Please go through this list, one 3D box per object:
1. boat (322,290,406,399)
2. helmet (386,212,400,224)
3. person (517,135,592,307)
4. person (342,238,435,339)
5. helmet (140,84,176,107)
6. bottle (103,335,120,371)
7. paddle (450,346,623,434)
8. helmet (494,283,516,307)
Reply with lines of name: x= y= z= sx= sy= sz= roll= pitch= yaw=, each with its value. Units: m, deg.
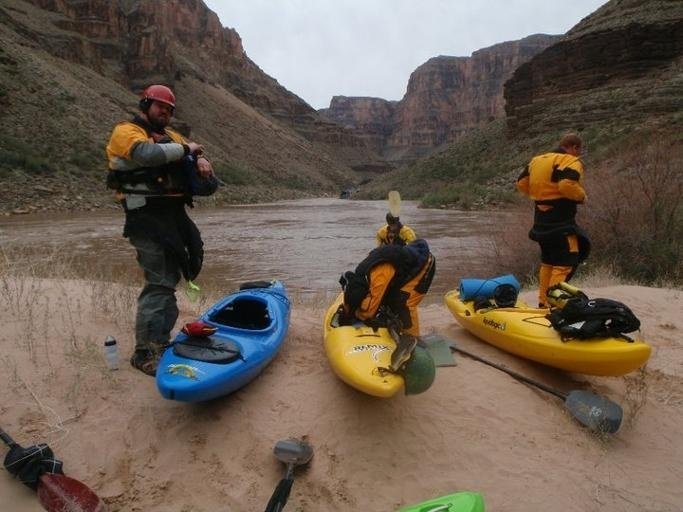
boat: x=0.298 y=1.048 z=6.588 sx=0.955 sy=0.533 sz=2.615 roll=-3 pitch=11 yaw=-3
helmet: x=0.829 y=-0.618 z=9.210 sx=0.173 sy=0.196 sz=0.218 roll=22 pitch=-33 yaw=-34
person: x=3.046 y=-0.477 z=8.080 sx=0.567 sy=2.453 sz=0.896 roll=-7 pitch=12 yaw=-21
person: x=0.607 y=0.414 z=6.894 sx=1.377 sy=1.343 sz=1.141 roll=0 pitch=3 yaw=0
helmet: x=-2.115 y=-1.885 z=6.634 sx=0.392 sy=0.170 sz=0.266 roll=8 pitch=12 yaw=-6
bottle: x=-2.690 y=1.096 z=6.632 sx=0.161 sy=0.399 sz=0.311 roll=-7 pitch=11 yaw=-22
paddle: x=2.229 y=1.609 z=7.313 sx=2.747 sy=0.420 sz=0.178 roll=16 pitch=-20 yaw=39
helmet: x=2.332 y=0.562 z=8.002 sx=0.279 sy=0.305 sz=0.290 roll=2 pitch=-31 yaw=15
